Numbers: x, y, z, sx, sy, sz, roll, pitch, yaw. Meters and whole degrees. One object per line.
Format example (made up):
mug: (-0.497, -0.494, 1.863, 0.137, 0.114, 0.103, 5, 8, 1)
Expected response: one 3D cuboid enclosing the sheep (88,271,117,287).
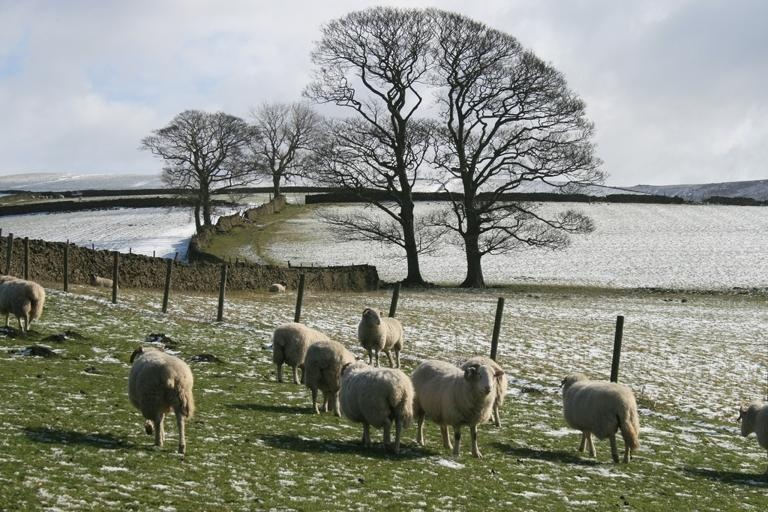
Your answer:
sheep: (-13.431, 1.111, 35.045, 1.254, 0.737, 0.423, 18, 11, 14)
